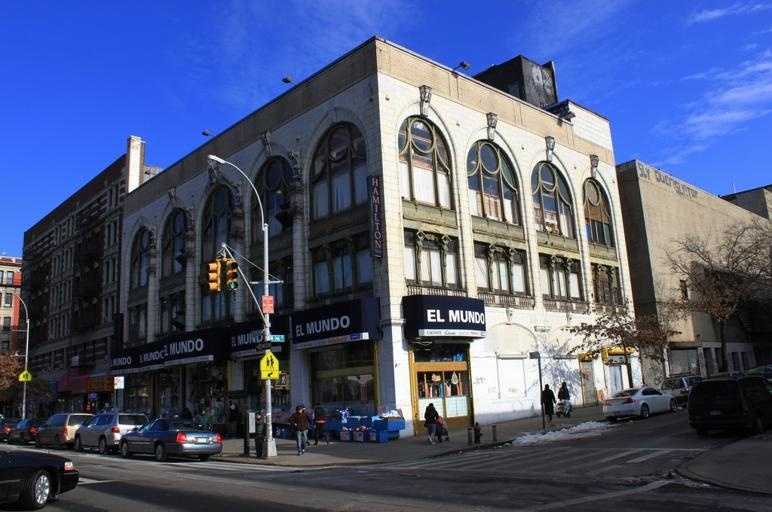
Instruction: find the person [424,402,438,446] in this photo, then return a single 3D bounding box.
[{"bbox_3d":[2.489,9.111,35.965,0.738,2.214,1.182,-6,-19,1],"label":"person"}]
